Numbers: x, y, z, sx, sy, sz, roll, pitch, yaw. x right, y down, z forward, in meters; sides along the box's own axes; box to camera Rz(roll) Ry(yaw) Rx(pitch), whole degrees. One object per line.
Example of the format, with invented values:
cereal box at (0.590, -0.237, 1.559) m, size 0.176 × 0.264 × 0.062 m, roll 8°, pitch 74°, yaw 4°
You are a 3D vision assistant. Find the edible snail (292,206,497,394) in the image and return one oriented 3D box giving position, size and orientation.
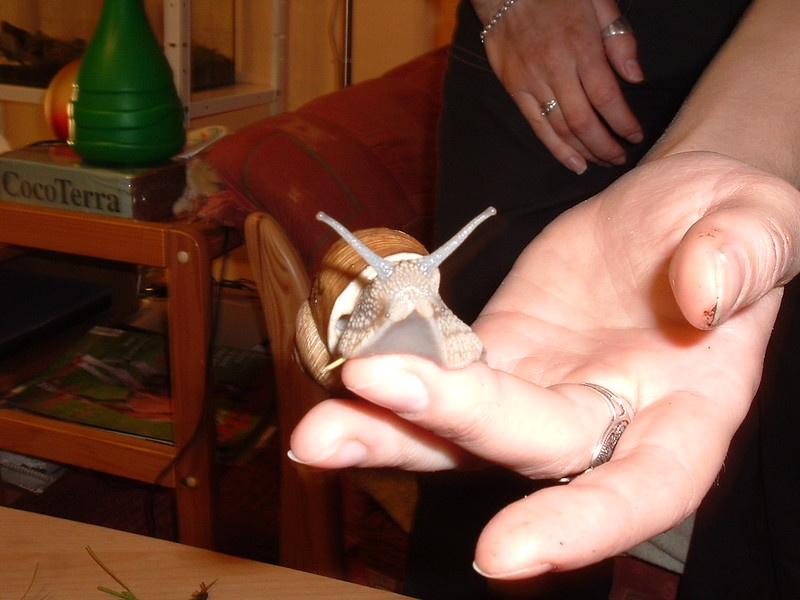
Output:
edible snail at (0.014, 0.007, 0.785) m, size 0.246 × 0.192 × 0.166 m, roll -14°, pitch 25°, yaw -26°

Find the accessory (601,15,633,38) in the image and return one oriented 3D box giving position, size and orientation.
accessory at (0.292, -0.368, 0.961) m, size 0.020 × 0.032 × 0.010 m, roll 59°, pitch 36°, yaw -3°

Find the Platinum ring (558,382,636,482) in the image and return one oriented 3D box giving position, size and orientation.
Platinum ring at (0.201, 0.119, 0.709) m, size 0.054 × 0.082 × 0.106 m, roll 11°, pitch 10°, yaw 37°
